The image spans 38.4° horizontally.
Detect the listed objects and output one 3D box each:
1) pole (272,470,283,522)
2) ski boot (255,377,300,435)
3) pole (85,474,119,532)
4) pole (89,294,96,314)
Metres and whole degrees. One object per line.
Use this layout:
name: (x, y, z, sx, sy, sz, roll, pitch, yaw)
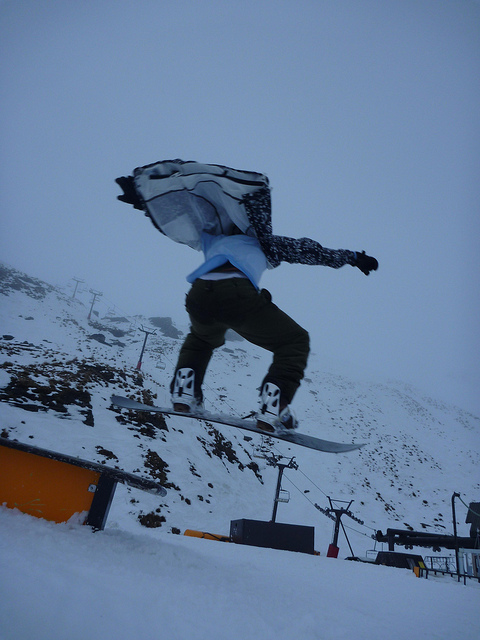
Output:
pole: (0.860, 4.255, 16.607, 0.159, 1.160, 0.186, 13, -21, 5)
ski boot: (0.443, 0.990, 7.871, 0.546, 0.628, 0.285, 15, -11, -12)
pole: (-1.777, 2.392, 9.038, 0.277, 0.731, 0.186, 20, -12, -26)
pole: (-4.471, -0.534, 21.202, 0.090, 0.628, 0.286, 17, -11, -11)
